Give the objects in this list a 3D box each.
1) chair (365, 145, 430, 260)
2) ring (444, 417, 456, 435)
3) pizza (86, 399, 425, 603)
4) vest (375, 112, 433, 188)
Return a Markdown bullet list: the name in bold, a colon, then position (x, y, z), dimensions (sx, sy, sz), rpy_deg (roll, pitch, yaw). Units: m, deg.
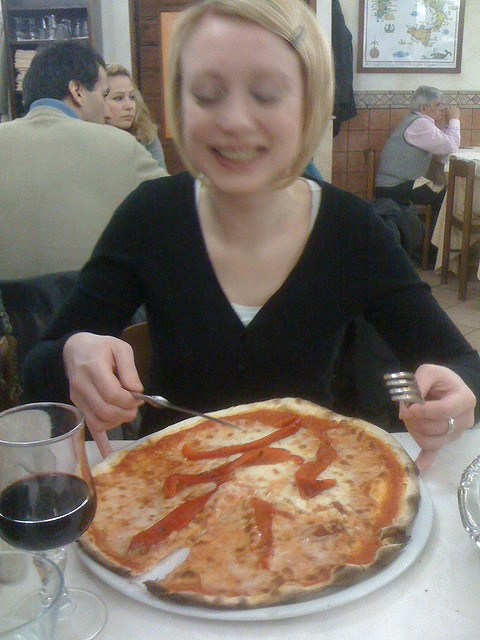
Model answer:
- **chair**: position (1.469, -0.974, 5.200), dimensions (0.569, 0.758, 0.566), rpy_deg (-3, 9, -18)
- **ring**: position (0.286, 0.145, 0.798), dimensions (0.008, 0.021, 0.016), rpy_deg (5, 19, 19)
- **pizza**: position (0.012, 0.207, 0.735), dimensions (0.411, 0.047, 0.420), rpy_deg (-6, 16, -6)
- **vest**: position (1.484, -1.599, 5.540), dimensions (0.500, 0.749, 0.472), rpy_deg (-5, 15, -6)
